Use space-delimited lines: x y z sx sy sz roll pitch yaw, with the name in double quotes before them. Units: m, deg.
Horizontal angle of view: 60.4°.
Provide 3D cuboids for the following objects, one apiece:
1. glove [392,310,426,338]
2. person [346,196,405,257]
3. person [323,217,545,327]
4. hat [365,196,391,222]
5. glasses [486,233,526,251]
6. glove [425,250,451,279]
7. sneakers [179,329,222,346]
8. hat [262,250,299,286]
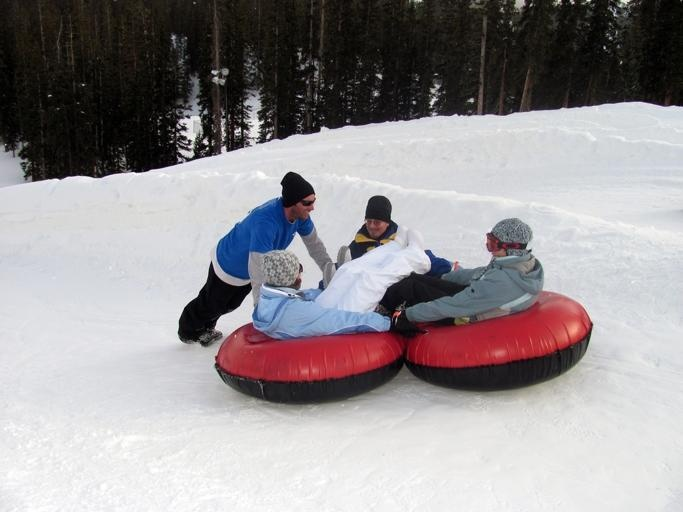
"glove" 0.710 0.724 6.341 0.262 0.127 0.314 4 -14 35
"person" 0.409 -0.338 7.572 1.038 0.883 0.538 0 11 5
"person" 1.183 0.212 6.777 2.075 1.155 1.470 1 14 24
"hat" 0.472 -0.612 7.417 0.282 0.265 0.342 11 11 4
"glasses" 1.745 -0.173 6.298 0.223 0.136 0.297 -4 8 -37
"glove" 1.221 0.101 7.225 0.335 0.128 0.319 3 27 -4
"sneakers" -1.797 1.077 7.655 0.407 0.127 0.236 -8 11 -34
"hat" -0.552 0.107 6.145 0.307 0.357 0.412 13 23 30
